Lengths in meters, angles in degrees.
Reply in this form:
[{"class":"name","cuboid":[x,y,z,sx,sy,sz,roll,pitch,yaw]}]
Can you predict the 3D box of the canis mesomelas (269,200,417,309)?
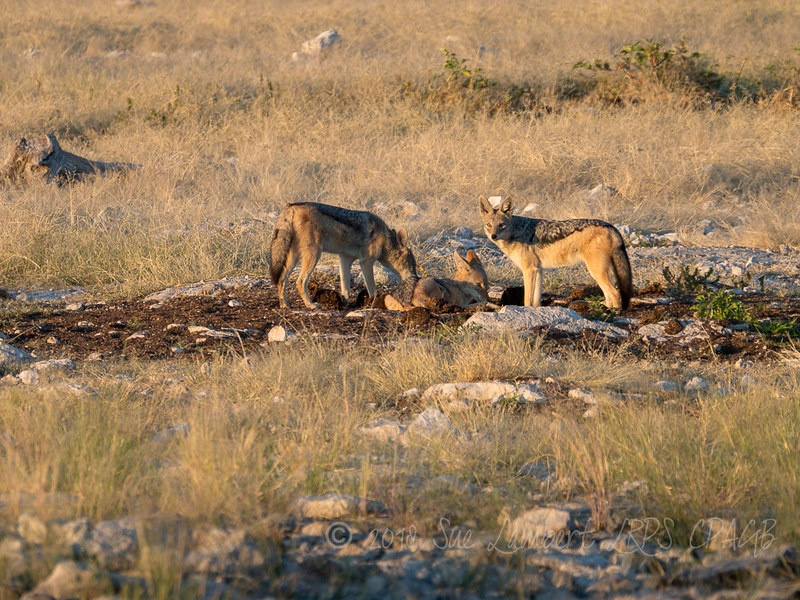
[{"class":"canis mesomelas","cuboid":[-1.040,-0.759,24.444,2.999,1.894,0.800,3,2,-38]}]
